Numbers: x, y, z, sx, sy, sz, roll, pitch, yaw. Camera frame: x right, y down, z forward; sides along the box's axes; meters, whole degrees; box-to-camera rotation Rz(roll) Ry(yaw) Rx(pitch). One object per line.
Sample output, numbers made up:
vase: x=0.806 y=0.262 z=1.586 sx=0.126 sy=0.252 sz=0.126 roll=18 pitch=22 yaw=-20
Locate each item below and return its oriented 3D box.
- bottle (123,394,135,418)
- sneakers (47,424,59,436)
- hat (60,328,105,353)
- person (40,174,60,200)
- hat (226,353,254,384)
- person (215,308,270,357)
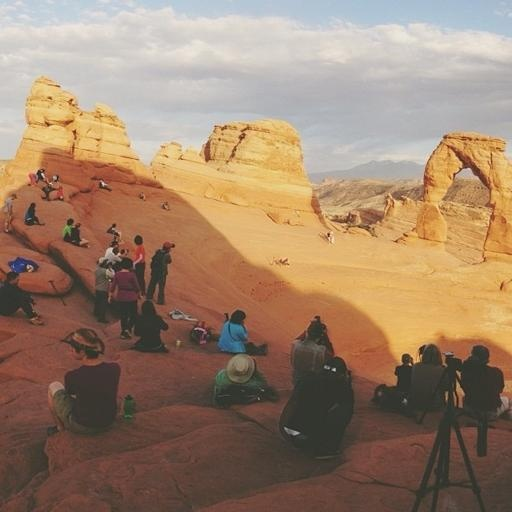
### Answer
bottle: x=-1.606 y=1.891 z=8.023 sx=0.141 sy=0.328 sz=0.226 roll=5 pitch=11 yaw=-11
sneakers: x=-2.501 y=2.159 z=7.808 sx=0.132 sy=0.034 sz=0.132 roll=6 pitch=9 yaw=42
hat: x=-2.758 y=1.374 z=10.289 sx=0.753 sy=0.354 sz=0.321 roll=10 pitch=4 yaw=-2
person: x=-6.764 y=-2.262 z=20.986 sx=0.624 sy=0.782 sz=1.079 roll=4 pitch=10 yaw=-17
hat: x=-0.230 y=1.589 z=8.881 sx=0.463 sy=0.379 sz=0.125 roll=-2 pitch=-18 yaw=10
person: x=-0.251 y=1.367 z=11.506 sx=0.665 sy=0.735 sz=1.007 roll=16 pitch=14 yaw=43
